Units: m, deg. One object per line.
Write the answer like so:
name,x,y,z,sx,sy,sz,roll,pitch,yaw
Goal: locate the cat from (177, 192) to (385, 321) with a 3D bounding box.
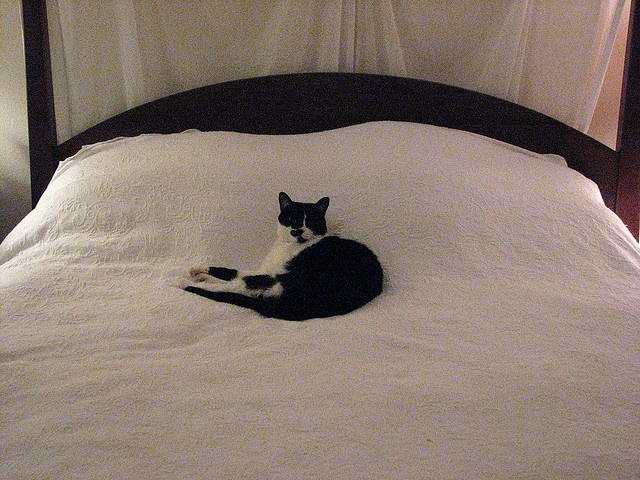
cat,-0.098,0.040,1.407,0.416,0.236,0.155,8,-36,21
